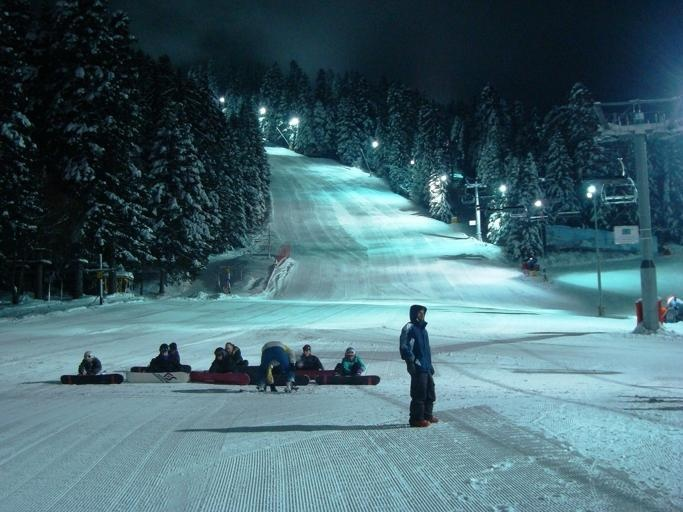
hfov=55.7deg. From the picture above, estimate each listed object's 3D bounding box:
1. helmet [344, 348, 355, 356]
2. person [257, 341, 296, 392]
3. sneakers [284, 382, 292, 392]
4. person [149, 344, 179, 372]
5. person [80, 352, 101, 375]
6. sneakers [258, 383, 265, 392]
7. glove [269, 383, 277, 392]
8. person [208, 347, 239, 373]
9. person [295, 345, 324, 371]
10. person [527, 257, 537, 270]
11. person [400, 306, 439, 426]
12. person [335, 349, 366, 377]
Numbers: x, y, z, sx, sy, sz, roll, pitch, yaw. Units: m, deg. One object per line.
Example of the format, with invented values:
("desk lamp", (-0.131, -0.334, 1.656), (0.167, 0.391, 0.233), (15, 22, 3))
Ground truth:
("helmet", (0.269, 2.913, 19.813), (0.249, 0.344, 0.366), (1, -27, -4))
("person", (-1.850, 3.205, 18.432), (1.056, 1.514, 0.762), (-1, 13, -6))
("sneakers", (-1.489, 3.734, 18.290), (0.153, 0.271, 0.099), (5, 20, -6))
("person", (-5.422, 3.104, 20.100), (0.678, 0.976, 0.370), (5, -5, -16))
("person", (-7.725, 3.404, 19.859), (0.536, 0.872, 0.388), (1, 1, -6))
("sneakers", (-2.254, 3.750, 18.228), (0.210, 0.160, 0.161), (-7, -7, 29))
("glove", (-1.941, 3.772, 18.396), (0.180, 0.240, 0.194), (-10, -7, 11))
("person", (-3.599, 3.285, 20.080), (0.827, 1.256, 0.667), (-3, -2, 18))
("person", (-1.031, 3.323, 20.436), (1.035, 1.078, 0.615), (0, -8, -8))
("person", (17.058, 0.683, 57.970), (0.898, 1.496, 0.771), (5, -12, -34))
("person", (1.821, 2.577, 15.120), (0.877, 2.714, 1.224), (1, 13, 6))
("person", (0.277, 3.351, 19.985), (0.645, 0.809, 0.950), (1, -19, 0))
